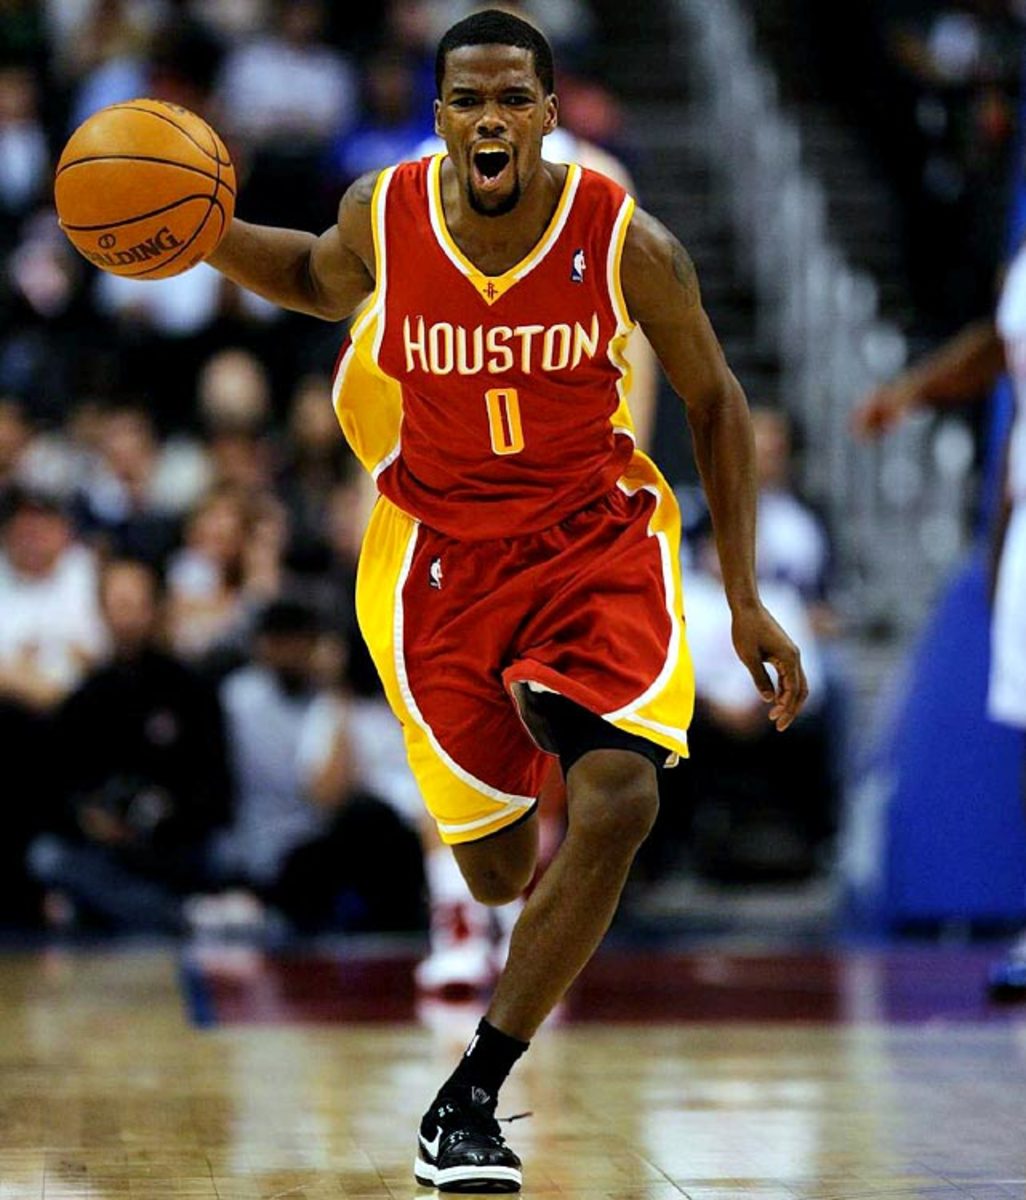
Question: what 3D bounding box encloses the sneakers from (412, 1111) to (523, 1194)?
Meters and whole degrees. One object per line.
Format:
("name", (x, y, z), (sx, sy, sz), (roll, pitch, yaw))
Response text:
("sneakers", (-0.052, 0.675, 1.946), (0.132, 0.096, 0.112), (6, 49, -1))
